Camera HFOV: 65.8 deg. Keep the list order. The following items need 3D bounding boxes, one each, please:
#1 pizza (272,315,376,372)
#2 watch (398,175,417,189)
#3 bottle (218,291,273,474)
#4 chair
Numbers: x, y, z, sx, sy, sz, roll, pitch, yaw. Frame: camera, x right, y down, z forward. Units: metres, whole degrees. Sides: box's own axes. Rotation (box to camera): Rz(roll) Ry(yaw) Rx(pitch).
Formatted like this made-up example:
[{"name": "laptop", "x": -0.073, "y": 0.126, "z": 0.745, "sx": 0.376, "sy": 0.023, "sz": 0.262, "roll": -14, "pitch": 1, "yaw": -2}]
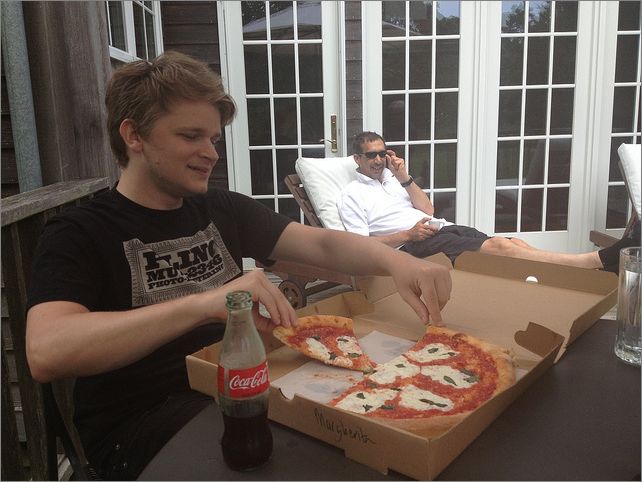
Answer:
[{"name": "pizza", "x": 0.015, "y": 0.261, "z": 1.285, "sx": 0.181, "sy": 0.043, "sz": 0.140, "roll": 8, "pitch": 13, "yaw": 36}, {"name": "watch", "x": 0.694, "y": -0.480, "z": 3.889, "sx": 0.114, "sy": 0.118, "sz": 0.115, "roll": -2, "pitch": -20, "yaw": -21}, {"name": "bottle", "x": -0.150, "y": 0.256, "z": 0.922, "sx": 0.098, "sy": 0.305, "sz": 0.119, "roll": -6, "pitch": 13, "yaw": -8}, {"name": "chair", "x": 0.123, "y": -0.043, "z": 3.553, "sx": 0.923, "sy": 0.871, "sz": 1.028, "roll": 11, "pitch": 18, "yaw": 36}]
